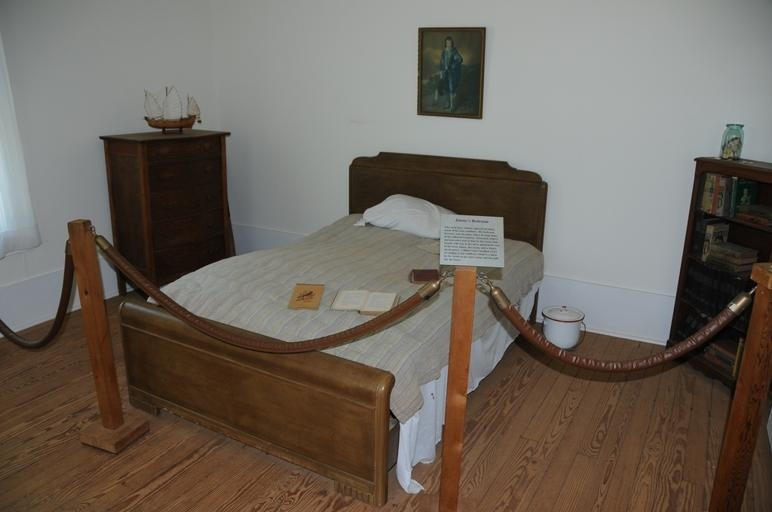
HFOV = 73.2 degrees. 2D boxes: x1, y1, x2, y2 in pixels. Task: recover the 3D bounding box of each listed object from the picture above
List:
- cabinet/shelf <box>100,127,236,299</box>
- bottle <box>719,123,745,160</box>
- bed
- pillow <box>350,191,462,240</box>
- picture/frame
[{"bbox_3d":[-2.379,-0.477,5.522,0.887,2.011,1.397,11,19,33],"label":"cabinet/shelf"},{"bbox_3d":[3.019,-1.008,4.576,0.193,0.309,0.194,3,7,0],"label":"bottle"},{"bbox_3d":[-0.216,0.618,5.053,2.578,2.200,3.418,10,20,28],"label":"bed"},{"bbox_3d":[0.208,-0.431,5.501,0.624,0.195,0.618,14,31,14],"label":"pillow"},{"bbox_3d":[0.715,-1.979,5.461,0.834,1.018,0.067,10,21,26],"label":"picture/frame"}]
